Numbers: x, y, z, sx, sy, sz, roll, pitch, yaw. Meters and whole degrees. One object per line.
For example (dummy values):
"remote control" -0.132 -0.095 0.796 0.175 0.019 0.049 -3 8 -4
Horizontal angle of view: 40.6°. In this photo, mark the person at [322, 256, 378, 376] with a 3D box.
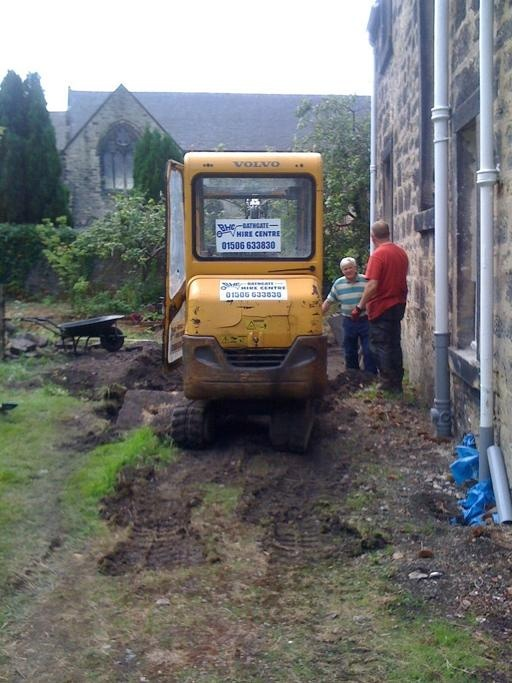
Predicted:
"person" 1.243 -0.254 8.864 0.843 1.640 0.495 -6 27 13

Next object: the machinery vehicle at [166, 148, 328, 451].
"machinery vehicle" -0.040 -0.382 6.913 1.554 2.590 2.551 1 5 9

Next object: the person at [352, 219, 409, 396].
"person" 1.377 -0.373 7.524 0.550 1.828 0.595 -3 10 9
